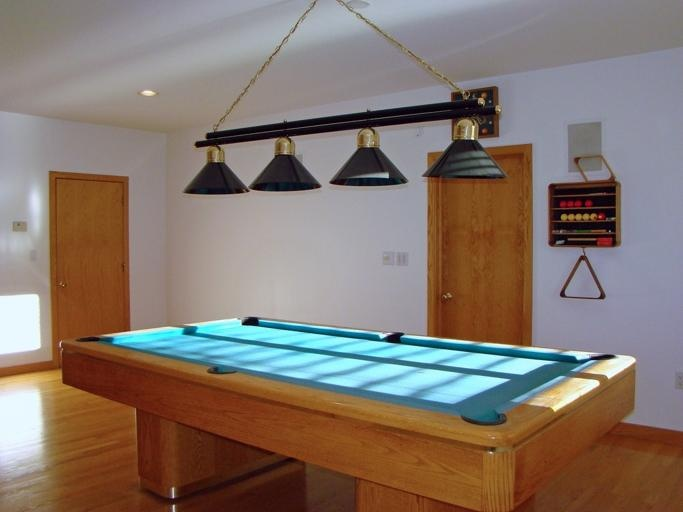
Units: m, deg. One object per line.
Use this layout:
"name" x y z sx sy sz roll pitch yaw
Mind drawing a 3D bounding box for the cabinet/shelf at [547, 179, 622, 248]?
"cabinet/shelf" 1.885 -0.332 4.241 0.529 0.492 0.175 1 4 33
